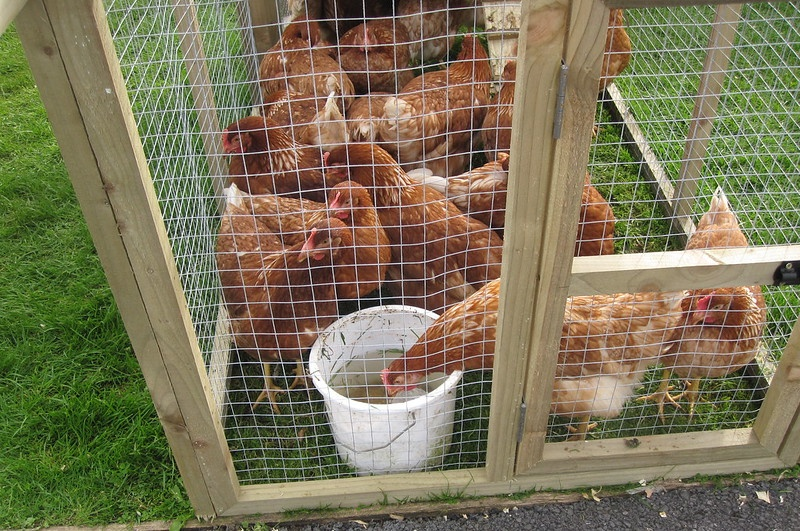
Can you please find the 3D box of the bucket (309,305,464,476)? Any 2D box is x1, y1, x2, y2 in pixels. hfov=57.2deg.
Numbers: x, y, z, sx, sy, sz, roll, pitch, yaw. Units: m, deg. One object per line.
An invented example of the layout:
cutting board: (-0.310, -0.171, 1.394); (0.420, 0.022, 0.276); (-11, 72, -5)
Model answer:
bucket: (-0.030, 0.673, 3.758); (0.730, 0.591, 0.748); (-3, 35, 2)
